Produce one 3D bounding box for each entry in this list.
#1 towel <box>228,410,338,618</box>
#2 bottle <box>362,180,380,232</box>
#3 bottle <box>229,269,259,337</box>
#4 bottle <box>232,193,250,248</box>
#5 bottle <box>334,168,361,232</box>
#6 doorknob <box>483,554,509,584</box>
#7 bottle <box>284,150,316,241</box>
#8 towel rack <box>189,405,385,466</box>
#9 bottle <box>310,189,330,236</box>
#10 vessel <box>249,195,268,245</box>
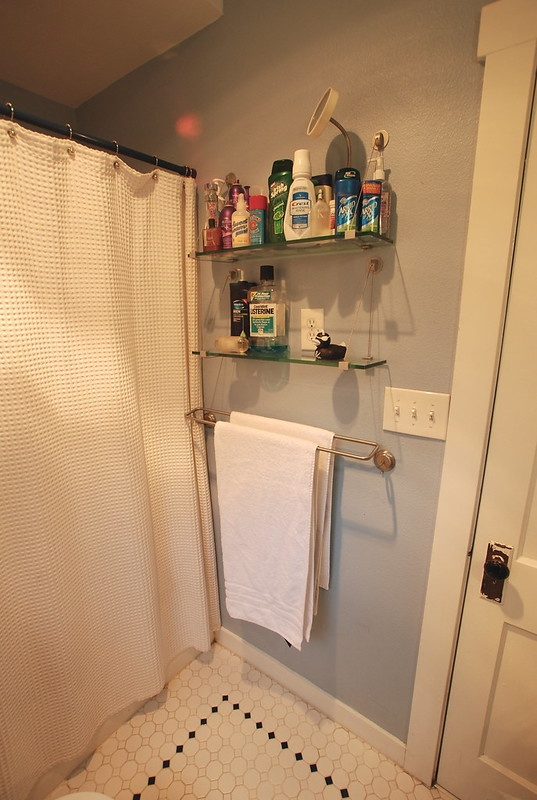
[{"bbox_3d":[0.048,0.291,1.549,0.440,0.633,0.068,14,22,43],"label":"towel"},{"bbox_3d":[0.216,-0.408,1.231,0.043,0.109,0.084,2,13,10],"label":"bottle"},{"bbox_3d":[-0.070,-0.243,1.587,0.082,0.196,0.021,0,35,-2],"label":"bottle"},{"bbox_3d":[-0.069,-0.446,1.444,0.041,0.129,0.061,-2,13,-8],"label":"bottle"},{"bbox_3d":[0.168,-0.425,1.235,0.057,0.137,0.078,2,13,6],"label":"bottle"},{"bbox_3d":[0.500,0.370,1.275,0.047,0.057,0.055,-4,-25,32],"label":"doorknob"},{"bbox_3d":[0.076,-0.455,1.297,0.070,0.196,0.070,0,13,0],"label":"bottle"},{"bbox_3d":[0.063,0.092,1.531,0.447,0.087,0.019,14,-4,28],"label":"towel rack"},{"bbox_3d":[0.119,-0.414,1.317,0.041,0.105,0.030,-2,-5,7],"label":"bottle"},{"bbox_3d":[-0.027,-0.432,1.399,0.043,0.117,0.066,1,13,3],"label":"vessel"}]
